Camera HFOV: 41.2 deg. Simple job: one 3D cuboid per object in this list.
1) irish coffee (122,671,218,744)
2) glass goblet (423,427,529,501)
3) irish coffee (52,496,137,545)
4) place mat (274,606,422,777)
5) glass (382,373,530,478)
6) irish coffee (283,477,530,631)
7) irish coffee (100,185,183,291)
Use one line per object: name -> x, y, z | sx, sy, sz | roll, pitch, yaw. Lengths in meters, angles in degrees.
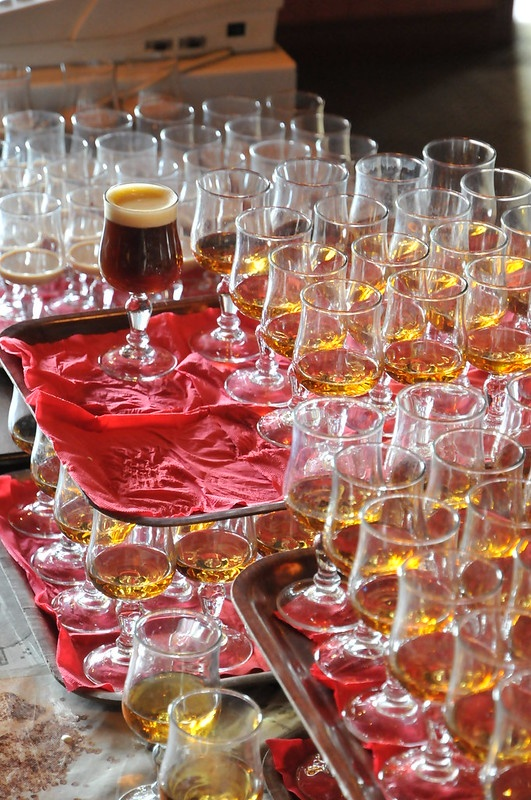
irish coffee -> -0.064, 0.252, 0.580 | 0.053, 0.033, 0.051 | 9, -9, 4
glass goblet -> 0.188, 0.075, 0.663 | 0.082, 0.073, 0.078 | 1, 23, -1
irish coffee -> -0.202, 0.143, 0.847 | 0.069, 0.043, 0.069 | 22, 23, 8
place mat -> 0.071, 0.261, 0.637 | 0.104, 0.104, 0.105 | 1, 42, 1
glass -> 0.192, 0.025, 0.707 | 0.100, 0.092, 0.095 | 0, 18, -3
irish coffee -> 0.143, 0.096, 0.553 | 0.115, 0.083, 0.133 | 2, 11, 10
irish coffee -> -0.136, -0.221, 1.021 | 0.147, 0.144, 0.138 | 4, 30, 2
